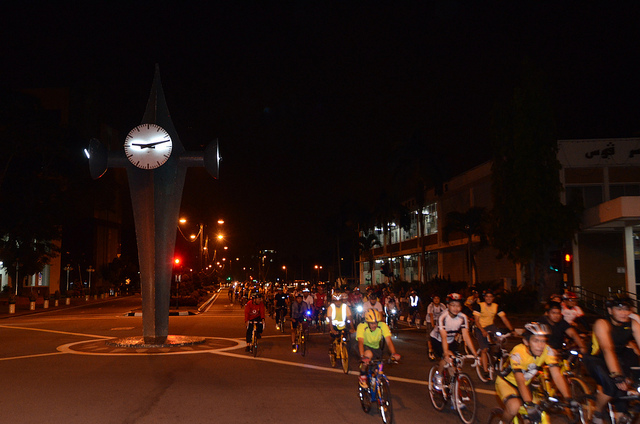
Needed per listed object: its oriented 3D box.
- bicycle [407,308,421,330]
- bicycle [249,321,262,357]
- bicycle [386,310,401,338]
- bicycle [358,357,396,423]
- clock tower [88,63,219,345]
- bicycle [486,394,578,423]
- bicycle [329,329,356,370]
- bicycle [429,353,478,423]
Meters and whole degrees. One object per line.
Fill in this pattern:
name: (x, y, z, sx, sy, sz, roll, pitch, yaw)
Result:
bicycle: (5.989, 6.773, 29.461, 0.873, 1.055, 1.645, 4, -18, -10)
bicycle: (-2.549, 4.883, 18.236, 0.422, 1.281, 0.943, 7, -14, -29)
bicycle: (3.810, 5.811, 24.556, 0.505, 1.383, 1.038, -1, -13, 5)
bicycle: (1.273, 3.989, 10.658, 0.569, 1.319, 1.415, 2, -14, -11)
clock tower: (-7.017, -0.360, 20.933, 3.328, 11.975, 1.634, 6, -13, -26)
bicycle: (3.822, 3.701, 8.751, 1.264, 0.532, 1.241, 6, -16, -23)
bicycle: (0.702, 4.520, 15.551, 0.511, 1.243, 1.184, 4, -14, -20)
bicycle: (3.098, 3.929, 10.698, 0.626, 1.413, 1.667, 3, -14, -13)
